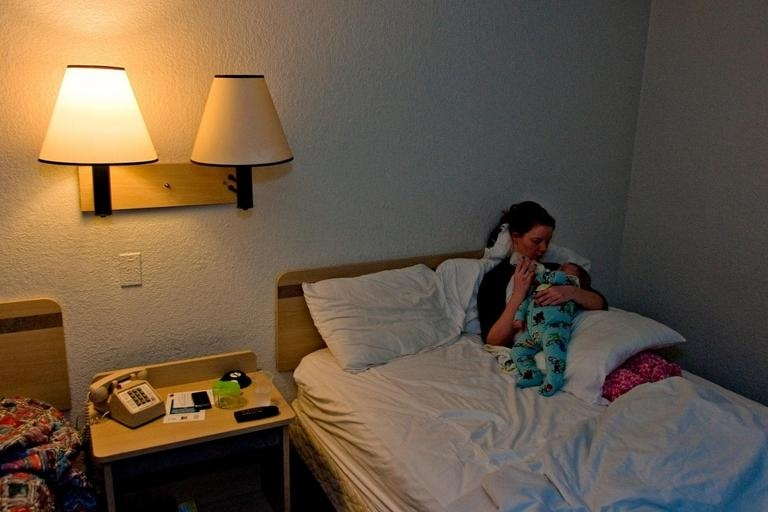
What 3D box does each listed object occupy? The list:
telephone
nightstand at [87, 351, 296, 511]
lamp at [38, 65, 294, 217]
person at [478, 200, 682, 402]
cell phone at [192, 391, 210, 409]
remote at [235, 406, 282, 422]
[{"bbox_3d":[-1.111,0.594,2.520,0.270,0.135,0.299,22,16,18],"label":"telephone"},{"bbox_3d":[-0.897,0.789,2.615,0.737,0.625,0.469,-7,20,-26],"label":"nightstand"},{"bbox_3d":[-0.987,-0.509,2.498,0.751,0.368,0.255,-3,16,-26],"label":"lamp"},{"bbox_3d":[0.835,0.188,3.100,0.767,0.750,1.250,-13,22,-16],"label":"person"},{"bbox_3d":[-0.819,0.636,2.591,0.057,0.021,0.096,-6,20,-24],"label":"cell phone"},{"bbox_3d":[-0.559,0.680,2.524,0.158,0.033,0.068,-3,16,-26],"label":"remote"}]
